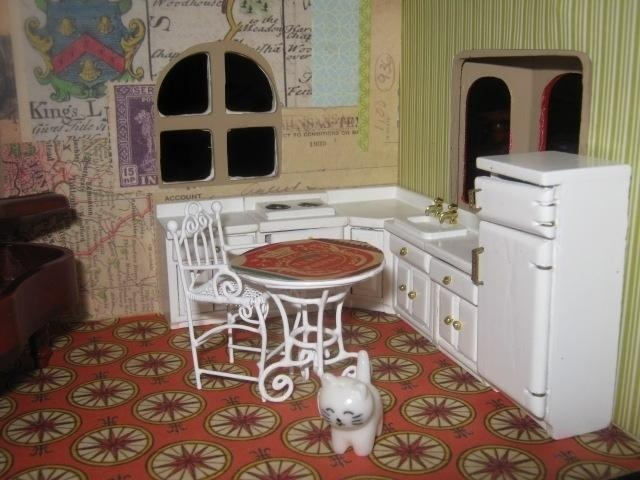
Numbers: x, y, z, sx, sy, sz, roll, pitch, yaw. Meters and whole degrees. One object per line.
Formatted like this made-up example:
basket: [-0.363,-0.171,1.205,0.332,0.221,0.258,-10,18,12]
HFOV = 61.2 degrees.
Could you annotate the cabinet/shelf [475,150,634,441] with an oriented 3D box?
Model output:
cabinet/shelf: [1.515,0.394,3.574,0.920,1.763,0.618,3,19,13]

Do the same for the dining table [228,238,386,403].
dining table: [0.044,0.618,4.374,1.304,1.039,1.345,10,18,37]

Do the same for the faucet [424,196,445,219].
faucet: [1.069,-0.291,5.048,0.275,0.225,0.154,0,12,-3]

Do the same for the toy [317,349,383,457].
toy: [0.230,1.079,3.553,0.374,0.497,0.597,1,16,24]
